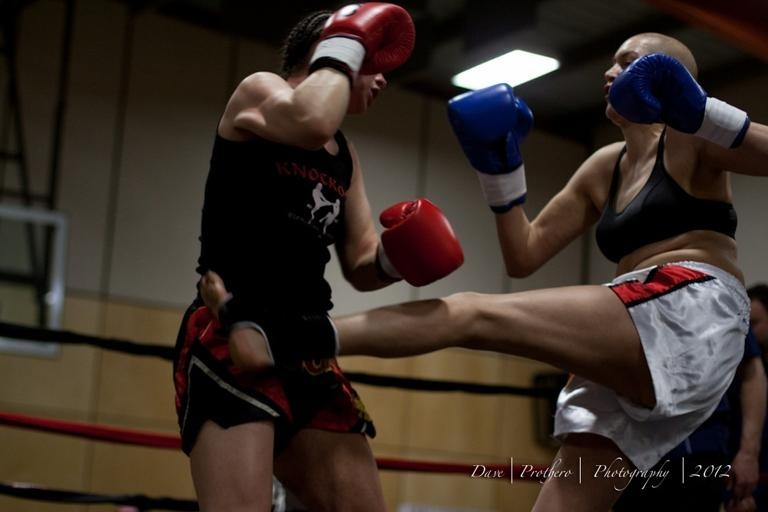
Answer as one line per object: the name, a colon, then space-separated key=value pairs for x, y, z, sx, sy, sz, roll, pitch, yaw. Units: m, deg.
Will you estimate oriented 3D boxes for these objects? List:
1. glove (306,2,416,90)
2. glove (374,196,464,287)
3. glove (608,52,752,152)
glove: x=-0.080 y=-0.690 z=2.604 sx=0.333 sy=0.266 sz=0.157 roll=-18 pitch=-19 yaw=3
glove: x=0.126 y=-0.046 z=2.667 sx=0.321 sy=0.237 sz=0.117 roll=49 pitch=2 yaw=6
glove: x=0.982 y=-0.499 z=2.563 sx=0.406 sy=0.172 sz=0.280 roll=30 pitch=-29 yaw=-14
